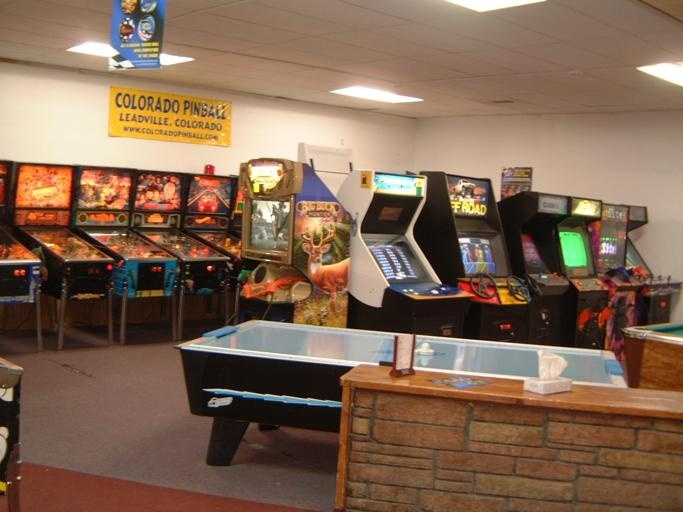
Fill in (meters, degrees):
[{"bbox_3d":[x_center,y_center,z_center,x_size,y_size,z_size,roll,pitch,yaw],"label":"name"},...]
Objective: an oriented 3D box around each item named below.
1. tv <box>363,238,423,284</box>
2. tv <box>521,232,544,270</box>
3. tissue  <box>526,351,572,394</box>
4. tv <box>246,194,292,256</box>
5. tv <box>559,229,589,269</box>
[{"bbox_3d":[0.516,0.038,5.225,0.545,0.361,0.440,1,7,-40],"label":"tv"},{"bbox_3d":[2.201,-0.033,6.293,0.306,0.414,0.439,8,6,8],"label":"tv"},{"bbox_3d":[0.946,0.542,2.599,0.255,0.158,0.167,2,-1,-36],"label":"tissue "},{"bbox_3d":[-0.646,-0.293,5.016,0.721,0.517,0.230,5,8,37],"label":"tv"},{"bbox_3d":[2.782,-0.089,6.597,0.249,0.448,0.511,12,9,39],"label":"tv"}]
